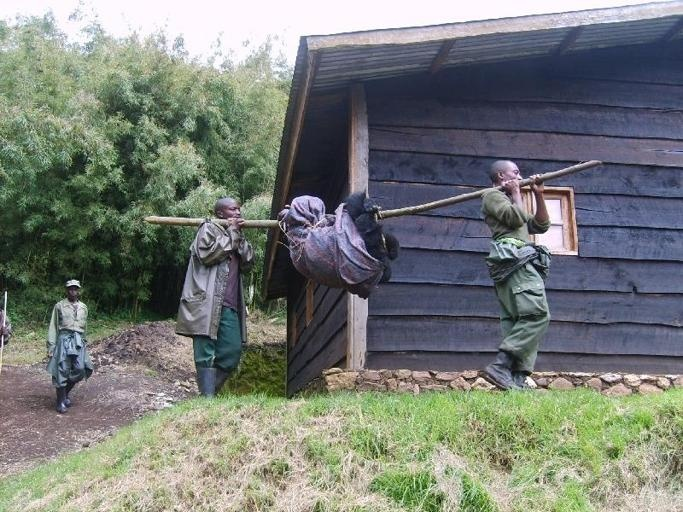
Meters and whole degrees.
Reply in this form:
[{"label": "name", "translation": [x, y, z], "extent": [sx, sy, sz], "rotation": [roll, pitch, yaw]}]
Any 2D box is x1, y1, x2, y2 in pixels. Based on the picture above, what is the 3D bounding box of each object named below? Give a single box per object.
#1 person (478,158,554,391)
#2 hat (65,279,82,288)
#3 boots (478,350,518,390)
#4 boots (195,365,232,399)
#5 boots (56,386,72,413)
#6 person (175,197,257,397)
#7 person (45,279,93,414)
[{"label": "person", "translation": [1.968, 0.192, 8.978], "extent": [0.750, 2.595, 0.621], "rotation": [1, 1, 11]}, {"label": "hat", "translation": [-5.283, 0.539, 15.460], "extent": [0.329, 0.175, 0.457], "rotation": [2, -7, -20]}, {"label": "boots", "translation": [1.751, 1.286, 8.831], "extent": [0.357, 0.407, 0.228], "rotation": [1, 1, 11]}, {"label": "boots", "translation": [-1.575, 1.506, 9.483], "extent": [0.443, 0.467, 0.270], "rotation": [-10, -17, 24]}, {"label": "boots", "translation": [-4.631, 2.362, 13.117], "extent": [0.229, 0.424, 0.487], "rotation": [0, 1, -19]}, {"label": "person", "translation": [-1.542, 0.606, 9.581], "extent": [0.935, 2.120, 0.501], "rotation": [0, 1, -18]}, {"label": "person", "translation": [-4.573, 1.490, 13.266], "extent": [0.707, 2.144, 0.702], "rotation": [1, 1, -15]}]
